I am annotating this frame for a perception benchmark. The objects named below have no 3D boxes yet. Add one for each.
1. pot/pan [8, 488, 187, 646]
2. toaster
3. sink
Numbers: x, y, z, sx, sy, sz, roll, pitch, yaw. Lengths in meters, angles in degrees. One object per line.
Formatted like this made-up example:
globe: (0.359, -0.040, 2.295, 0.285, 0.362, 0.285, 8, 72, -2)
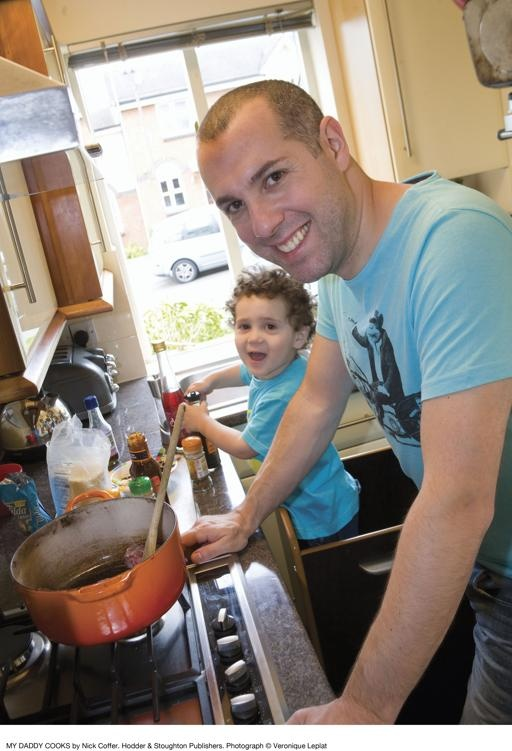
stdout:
pot/pan: (-0.177, 0.259, 0.695, 0.191, 0.082, 0.215, -15, 20, -18)
toaster: (-0.716, 0.025, 2.138, 0.341, 0.222, 0.339, -16, 21, -16)
sink: (-0.180, 0.077, 2.603, 0.283, 0.174, 0.281, -16, 13, 3)
